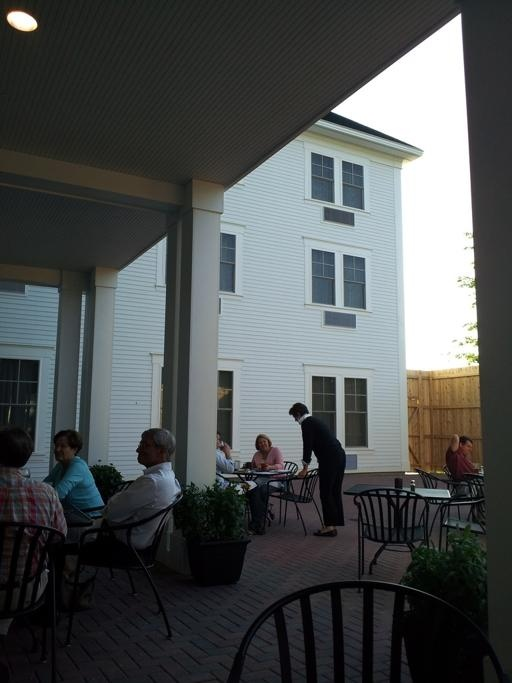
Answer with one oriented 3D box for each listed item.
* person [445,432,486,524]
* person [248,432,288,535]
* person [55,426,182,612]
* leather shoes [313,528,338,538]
[{"bbox_3d":[3.065,1.892,7.694,0.604,1.073,0.518,-12,-24,31],"label":"person"},{"bbox_3d":[0.100,1.851,7.504,0.501,1.164,0.646,-12,-18,20],"label":"person"},{"bbox_3d":[-0.862,1.133,3.658,0.673,1.092,0.460,11,-5,-5],"label":"person"},{"bbox_3d":[0.829,2.260,6.546,0.277,0.097,0.098,1,-10,17],"label":"leather shoes"}]
